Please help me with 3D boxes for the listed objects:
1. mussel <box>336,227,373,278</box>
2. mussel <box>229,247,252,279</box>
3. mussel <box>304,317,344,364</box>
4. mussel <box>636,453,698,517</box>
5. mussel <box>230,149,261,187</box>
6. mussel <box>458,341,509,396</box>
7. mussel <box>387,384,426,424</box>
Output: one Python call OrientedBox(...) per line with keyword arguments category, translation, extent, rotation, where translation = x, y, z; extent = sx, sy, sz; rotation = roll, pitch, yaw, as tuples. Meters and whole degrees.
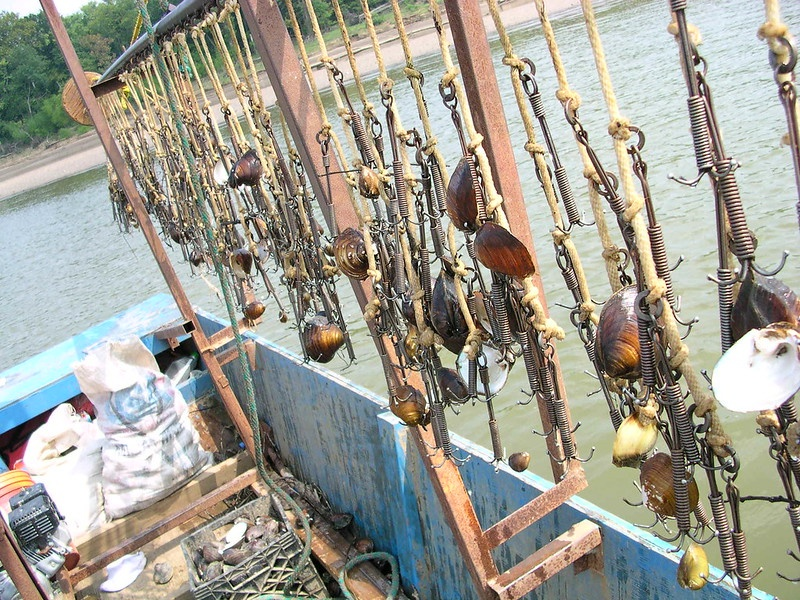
OrientedBox(category="mussel", translation=(-0.172, -0.157, 2.499), extent=(0.149, 0.159, 0.052), rotation=(42, 33, 28))
OrientedBox(category="mussel", translation=(-0.770, -0.183, 3.518), extent=(0.102, 0.146, 0.141), rotation=(-7, 45, -21))
OrientedBox(category="mussel", translation=(-0.299, 0.147, 2.899), extent=(0.159, 0.189, 0.194), rotation=(-18, 8, -35))
OrientedBox(category="mussel", translation=(0.684, 0.493, 1.876), extent=(0.103, 0.182, 0.133), rotation=(-10, 22, -31))
OrientedBox(category="mussel", translation=(-0.671, -0.591, 3.264), extent=(0.198, 0.126, 0.253), rotation=(-6, 7, -4))
OrientedBox(category="mussel", translation=(0.261, 0.201, 2.235), extent=(0.140, 0.170, 0.131), rotation=(-8, 18, -32))
OrientedBox(category="mussel", translation=(0.029, 0.329, 2.484), extent=(0.114, 0.050, 0.100), rotation=(-25, -8, -46))
